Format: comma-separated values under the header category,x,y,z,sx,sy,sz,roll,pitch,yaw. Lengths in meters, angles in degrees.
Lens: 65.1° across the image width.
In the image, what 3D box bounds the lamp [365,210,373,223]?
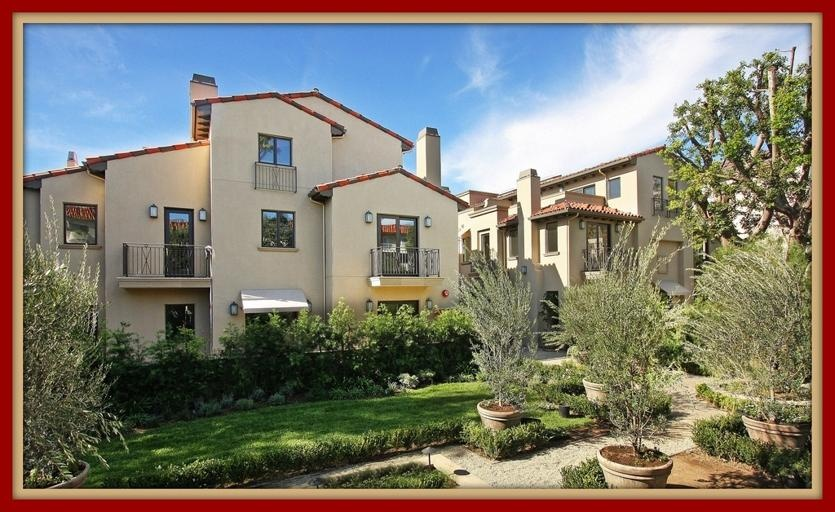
category,x,y,z,sx,sy,sz,roll,pitch,yaw
lamp,-2.031,-1.683,28.313,0.413,0.516,0.305,1,-7,-19

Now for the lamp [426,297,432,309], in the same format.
category,x,y,z,sx,sy,sz,roll,pitch,yaw
lamp,0.590,2.121,29.389,0.332,0.646,0.327,-2,3,-11

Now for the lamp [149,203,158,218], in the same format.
category,x,y,z,sx,sy,sz,roll,pitch,yaw
lamp,-10.560,-1.810,26.260,0.262,0.598,0.367,-6,-8,38
